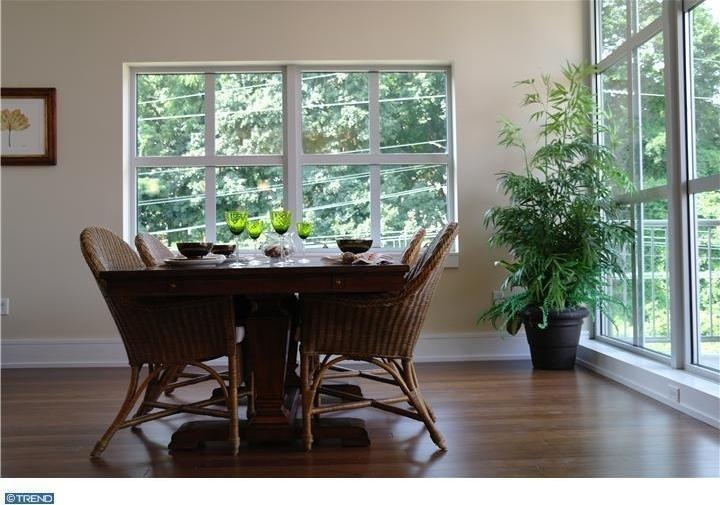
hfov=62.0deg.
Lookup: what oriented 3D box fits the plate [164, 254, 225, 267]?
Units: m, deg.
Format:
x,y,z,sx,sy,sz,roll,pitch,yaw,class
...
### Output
x,y,z,sx,sy,sz,roll,pitch,yaw,class
-0.907,0.045,3.302,0.297,0.049,0.239,-1,10,-5,plate
